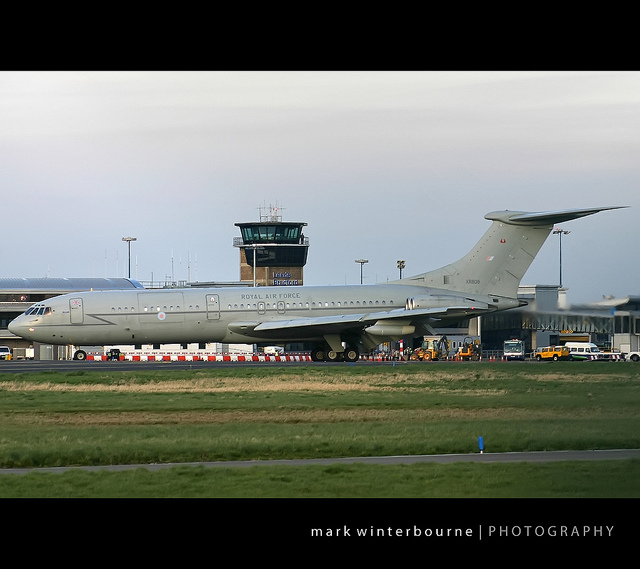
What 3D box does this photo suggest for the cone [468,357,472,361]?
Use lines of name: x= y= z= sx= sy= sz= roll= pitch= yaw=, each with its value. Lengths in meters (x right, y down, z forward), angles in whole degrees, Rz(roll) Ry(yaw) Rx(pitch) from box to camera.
cone: x=5.220 y=2.568 z=50.716 sx=0.095 sy=0.118 sz=0.045 roll=2 pitch=3 yaw=-22
